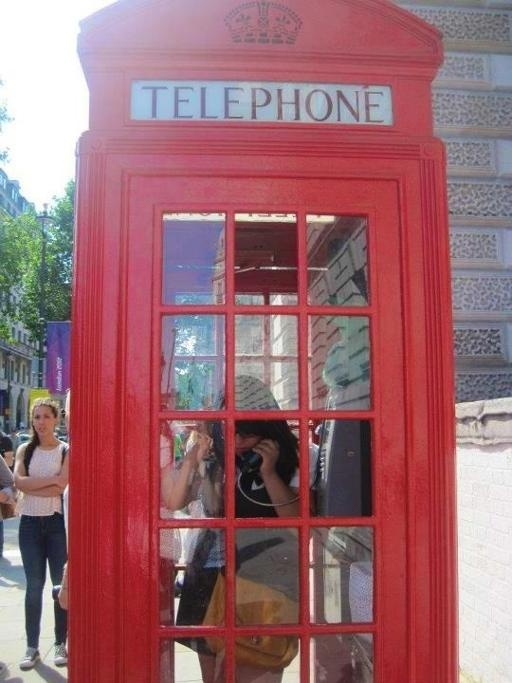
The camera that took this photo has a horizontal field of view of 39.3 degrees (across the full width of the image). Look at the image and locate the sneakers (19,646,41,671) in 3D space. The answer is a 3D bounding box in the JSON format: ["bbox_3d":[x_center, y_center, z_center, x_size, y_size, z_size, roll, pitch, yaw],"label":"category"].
[{"bbox_3d":[-1.297,1.796,4.113,0.108,0.104,0.210,2,-7,-17],"label":"sneakers"}]

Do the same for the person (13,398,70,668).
[{"bbox_3d":[-1.266,1.095,4.186,0.302,1.513,0.608,3,-6,-19],"label":"person"}]
